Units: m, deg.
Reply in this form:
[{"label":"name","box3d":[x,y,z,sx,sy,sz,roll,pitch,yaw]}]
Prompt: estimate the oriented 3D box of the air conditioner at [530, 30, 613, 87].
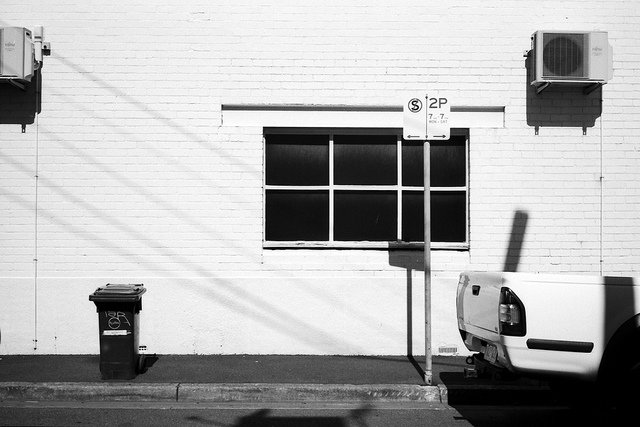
[{"label":"air conditioner","box3d":[4.851,-2.989,23.361,1.635,0.960,0.798,1,-1,-10]}]
